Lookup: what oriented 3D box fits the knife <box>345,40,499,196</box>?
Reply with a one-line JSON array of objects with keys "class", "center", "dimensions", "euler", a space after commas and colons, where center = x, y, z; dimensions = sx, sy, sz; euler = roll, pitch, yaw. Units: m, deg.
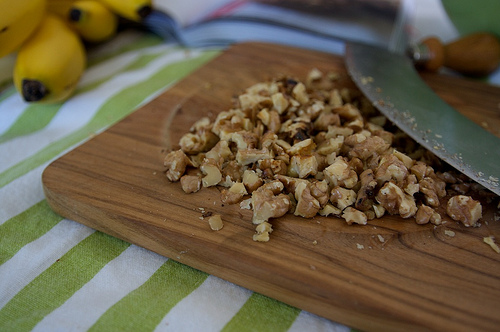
[{"class": "knife", "center": [0.552, -0.216, 1.864], "dimensions": [0.260, 0.030, 0.922], "euler": [-11, 42, -22]}]
